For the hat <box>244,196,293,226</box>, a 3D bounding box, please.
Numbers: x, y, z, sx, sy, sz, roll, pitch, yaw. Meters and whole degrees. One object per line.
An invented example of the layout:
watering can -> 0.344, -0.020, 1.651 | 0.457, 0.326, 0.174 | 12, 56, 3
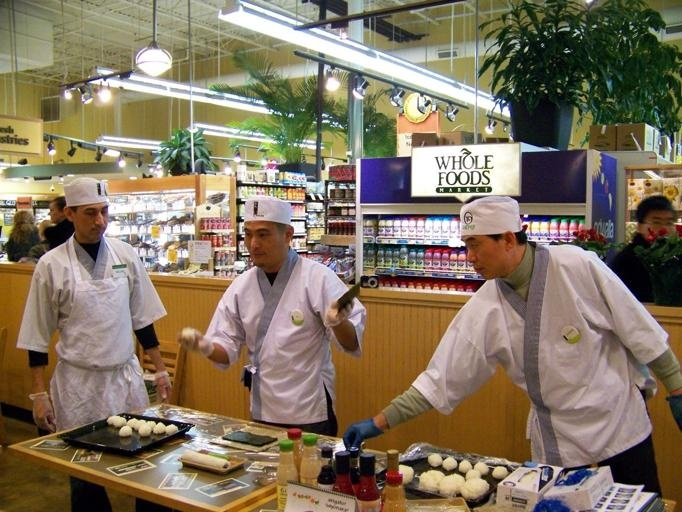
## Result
hat -> -0.411, -0.262, 3.218 | 0.185, 0.123, 0.183 | 5, -1, -34

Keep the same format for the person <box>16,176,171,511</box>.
person -> -1.620, 0.312, 3.671 | 0.902, 1.640, 0.434 | -2, 4, -27

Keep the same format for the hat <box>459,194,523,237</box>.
hat -> 0.721, -0.198, 2.653 | 0.209, 0.147, 0.212 | -6, 8, -15

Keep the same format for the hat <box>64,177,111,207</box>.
hat -> -1.646, -0.412, 3.677 | 0.199, 0.147, 0.218 | -2, 8, -6

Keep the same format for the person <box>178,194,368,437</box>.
person -> -0.300, 0.626, 3.223 | 1.019, 1.848, 0.715 | -3, 1, 21
